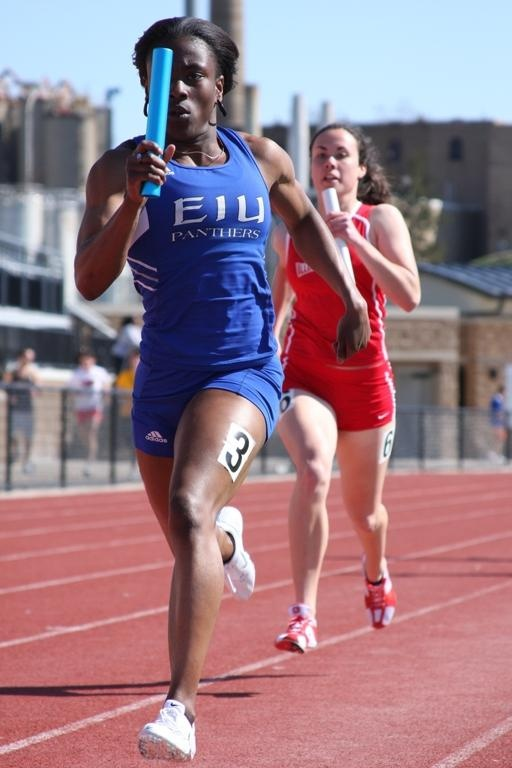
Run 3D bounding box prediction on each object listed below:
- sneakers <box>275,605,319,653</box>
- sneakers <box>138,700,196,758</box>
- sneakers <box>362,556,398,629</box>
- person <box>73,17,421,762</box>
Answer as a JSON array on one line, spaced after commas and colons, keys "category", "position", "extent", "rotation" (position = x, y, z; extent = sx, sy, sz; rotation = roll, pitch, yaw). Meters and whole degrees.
[{"category": "sneakers", "position": [0.141, 0.781, 3.222], "extent": [0.079, 0.101, 0.217], "rotation": [1, -13, 17]}, {"category": "sneakers", "position": [-0.157, 0.673, 1.968], "extent": [0.069, 0.065, 0.144], "rotation": [8, -18, 13]}, {"category": "sneakers", "position": [0.449, 0.778, 3.800], "extent": [0.115, 0.255, 0.121], "rotation": [-4, 8, 14]}, {"category": "person", "position": [-0.152, 0.002, 2.446], "extent": [0.525, 1.771, 1.059], "rotation": [3, 4, 27]}]
